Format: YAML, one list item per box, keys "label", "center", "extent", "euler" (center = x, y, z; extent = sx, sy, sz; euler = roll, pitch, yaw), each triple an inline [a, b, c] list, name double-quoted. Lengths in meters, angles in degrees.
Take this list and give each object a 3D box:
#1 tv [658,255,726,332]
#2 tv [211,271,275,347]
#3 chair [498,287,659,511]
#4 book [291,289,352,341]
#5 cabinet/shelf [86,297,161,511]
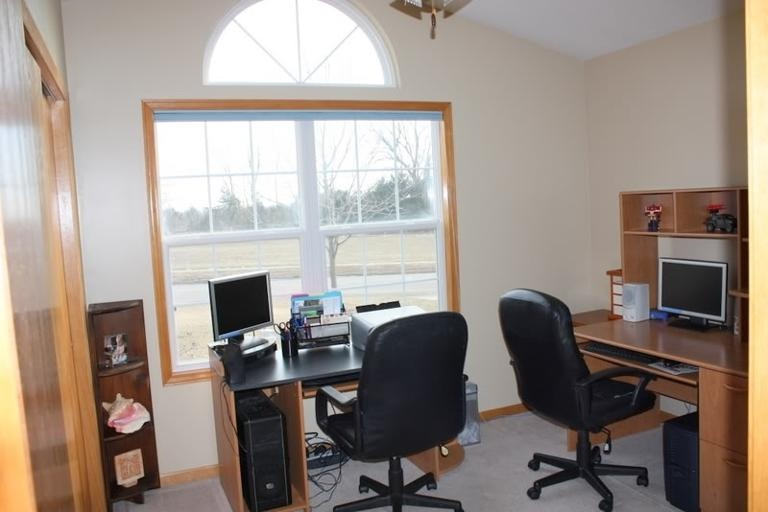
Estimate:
- label: "tv"
  center: [2.314, 0.286, 4.115]
  extent: [0.188, 0.510, 0.512]
  euler: [1, -7, -26]
- label: "tv"
  center: [-1.034, 0.379, 4.002]
  extent: [0.178, 0.516, 0.515]
  euler: [-4, 2, 43]
- label: "chair"
  center: [1.316, 0.942, 3.769]
  extent: [0.910, 1.489, 0.513]
  euler: [-5, 6, -5]
- label: "book"
  center: [-0.453, 0.443, 4.097]
  extent: [0.377, 0.370, 0.363]
  euler: [-1, 0, -12]
- label: "cabinet/shelf"
  center: [-1.837, 1.055, 3.939]
  extent: [0.370, 1.452, 0.397]
  euler: [-7, 7, -24]
